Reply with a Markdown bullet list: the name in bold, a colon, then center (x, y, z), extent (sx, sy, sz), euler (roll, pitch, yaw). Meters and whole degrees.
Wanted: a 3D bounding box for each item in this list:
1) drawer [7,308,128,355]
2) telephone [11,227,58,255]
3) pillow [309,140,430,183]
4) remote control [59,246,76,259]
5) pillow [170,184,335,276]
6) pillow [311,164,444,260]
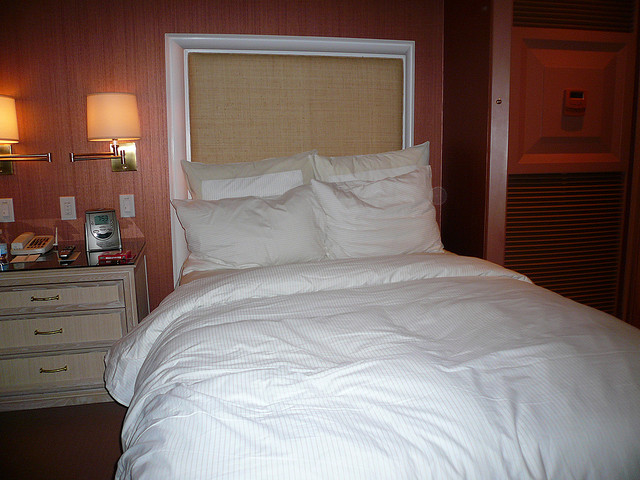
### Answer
- **drawer**: center (-1.358, 0.487, 2.521), extent (0.420, 0.129, 0.301), euler (-1, 2, -11)
- **telephone**: center (-1.663, 0.017, 2.744), extent (0.180, 0.107, 0.188), euler (-3, 11, -3)
- **pillow**: center (0.227, -0.535, 3.114), extent (0.522, 0.164, 0.563), euler (1, 25, -10)
- **remote control**: center (-1.419, 0.066, 2.645), extent (0.056, 0.032, 0.110), euler (0, 26, -9)
- **pillow**: center (-0.360, -0.069, 2.601), extent (0.888, 0.319, 0.359), euler (-7, 23, -16)
- **pillow**: center (0.305, -0.145, 2.651), extent (0.591, 0.375, 0.195), euler (-5, -2, -7)
